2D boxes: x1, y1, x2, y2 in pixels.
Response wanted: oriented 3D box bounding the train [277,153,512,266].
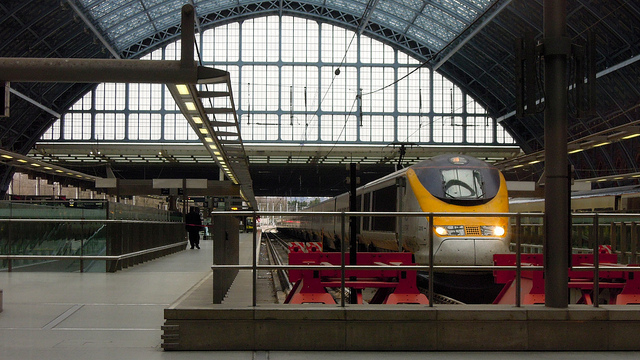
[{"bbox_3d":[2.611,2.688,39.213,4.118,4.466,31.740,3,-7,-12],"label":"train"}]
